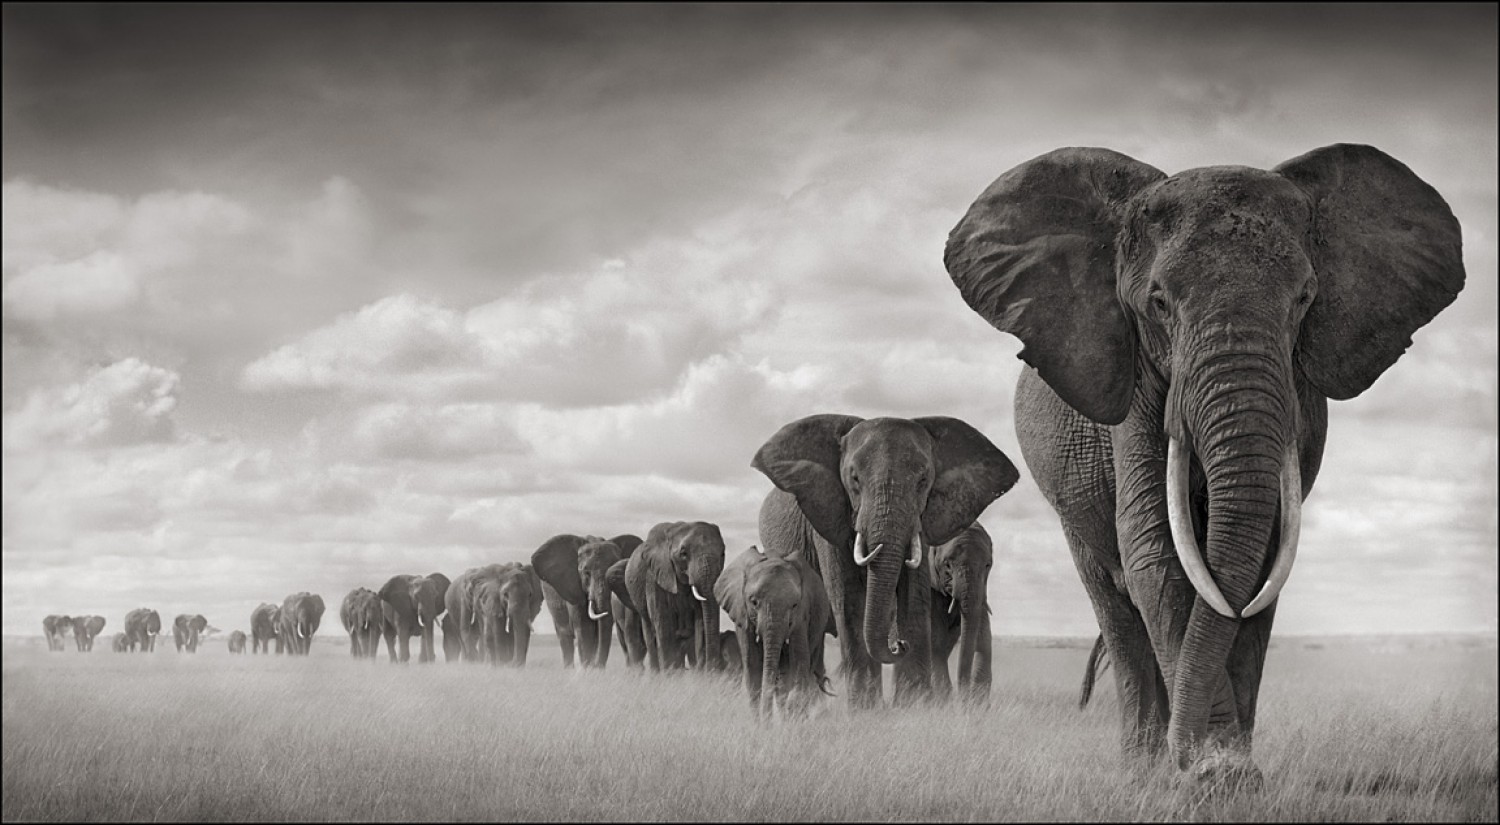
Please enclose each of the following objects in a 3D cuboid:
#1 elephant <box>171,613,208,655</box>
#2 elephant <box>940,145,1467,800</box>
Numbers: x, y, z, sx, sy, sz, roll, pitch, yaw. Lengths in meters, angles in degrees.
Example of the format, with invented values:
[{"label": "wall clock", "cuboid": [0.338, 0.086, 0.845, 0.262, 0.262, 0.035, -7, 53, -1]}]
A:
[{"label": "elephant", "cuboid": [-17.778, 7.006, 39.617, 0.584, 1.215, 2.824, -1, -1, -18]}, {"label": "elephant", "cuboid": [2.891, 0.239, 8.120, 2.533, 3.798, 1.316, -2, -1, 35]}]
